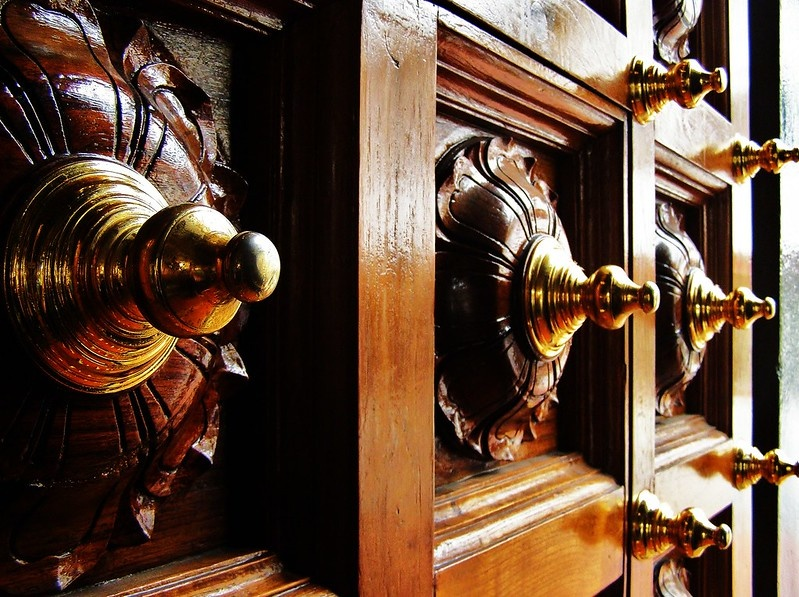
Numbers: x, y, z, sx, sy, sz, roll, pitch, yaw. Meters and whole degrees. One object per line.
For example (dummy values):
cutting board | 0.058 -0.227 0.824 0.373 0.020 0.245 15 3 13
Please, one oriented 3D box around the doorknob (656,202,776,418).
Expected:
doorknob | 0.424 0.012 0.904 0.138 0.288 0.241 -1 9 43

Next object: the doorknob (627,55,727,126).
doorknob | 0.319 -0.246 0.763 0.099 0.082 0.069 3 6 40

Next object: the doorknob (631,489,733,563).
doorknob | 0.318 0.263 0.758 0.103 0.071 0.068 -7 -23 37
